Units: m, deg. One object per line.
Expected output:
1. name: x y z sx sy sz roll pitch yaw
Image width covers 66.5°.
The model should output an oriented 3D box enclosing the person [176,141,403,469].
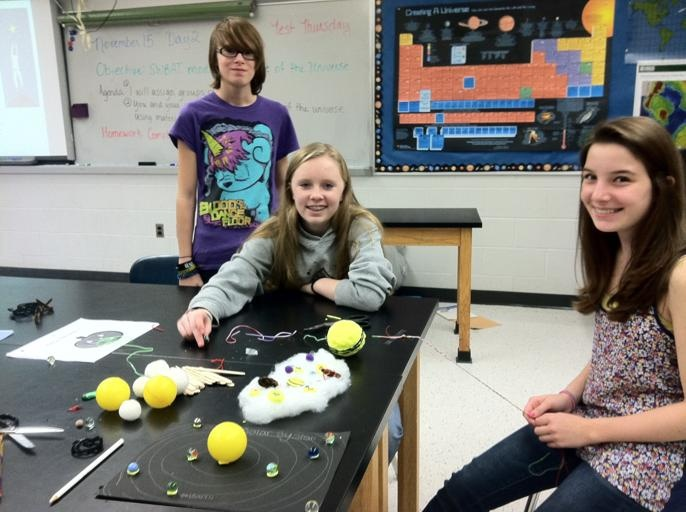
1. person: -0.123 0.029 1.843 0.731 1.000 1.000 2 15 16

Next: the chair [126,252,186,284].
1. chair: -0.807 0.056 2.216 0.136 0.182 0.145 -1 6 -11

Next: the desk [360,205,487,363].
1. desk: 0.453 0.108 3.190 0.767 0.772 0.783 1 16 9

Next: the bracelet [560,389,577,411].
1. bracelet: 0.590 0.366 1.353 0.040 0.051 0.019 -2 26 6

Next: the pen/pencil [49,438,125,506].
1. pen/pencil: -0.473 0.380 1.027 0.027 0.027 0.255 16 20 7

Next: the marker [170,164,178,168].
1. marker: -1.299 -0.695 4.010 0.042 0.011 0.044 -1 27 7
